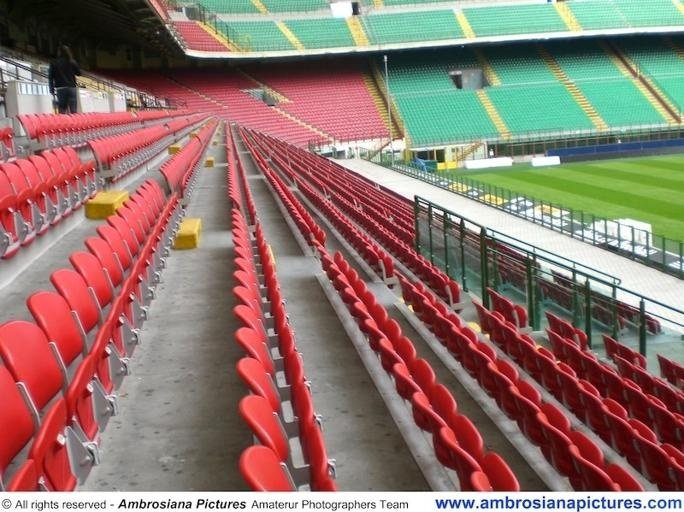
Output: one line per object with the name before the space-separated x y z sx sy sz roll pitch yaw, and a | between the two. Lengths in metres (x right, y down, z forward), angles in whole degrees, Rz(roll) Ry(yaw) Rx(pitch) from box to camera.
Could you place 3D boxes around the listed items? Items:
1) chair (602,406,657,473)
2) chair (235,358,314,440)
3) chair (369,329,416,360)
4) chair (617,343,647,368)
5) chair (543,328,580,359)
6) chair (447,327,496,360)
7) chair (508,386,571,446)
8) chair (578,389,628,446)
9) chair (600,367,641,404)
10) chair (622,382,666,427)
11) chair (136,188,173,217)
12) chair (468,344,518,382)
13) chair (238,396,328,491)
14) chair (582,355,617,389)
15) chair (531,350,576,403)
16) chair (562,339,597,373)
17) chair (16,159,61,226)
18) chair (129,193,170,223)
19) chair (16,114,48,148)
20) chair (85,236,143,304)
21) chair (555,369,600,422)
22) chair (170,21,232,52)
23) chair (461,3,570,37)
chair | 1.772 1.064 2.950 0.322 0.334 0.266 -7 13 -23
chair | -0.242 0.520 1.737 0.212 0.302 0.225 -22 30 0
chair | 0.283 0.522 2.645 0.160 0.184 0.168 -5 51 -19
chair | 2.707 0.907 4.580 0.249 0.257 0.209 -2 5 -26
chair | 1.987 0.807 4.328 0.276 0.274 0.219 -6 13 -17
chair | 0.894 0.611 3.332 0.163 0.199 0.149 -19 38 -19
chair | 1.044 0.829 2.592 0.280 0.293 0.220 -20 32 -16
chair | 1.638 1.016 3.115 0.287 0.332 0.256 -10 18 -11
chair | 2.097 0.979 3.670 0.259 0.258 0.191 -2 8 -18
chair | 2.152 1.064 3.504 0.277 0.283 0.221 -11 21 -14
chair | -1.713 -0.480 4.425 0.144 0.127 0.421 -21 16 1
chair | 0.994 0.705 3.172 0.191 0.212 0.202 -21 43 -21
chair | -0.185 0.591 1.515 0.222 0.312 0.232 -20 29 0
chair | 2.067 0.929 3.867 0.226 0.231 0.180 -8 14 -16
chair | 1.528 0.876 3.476 0.243 0.263 0.206 -14 29 -17
chair | 2.027 0.872 4.126 0.261 0.265 0.212 -8 17 -20
chair | -2.220 -0.445 3.538 0.202 0.512 0.330 -19 -13 -15
chair | -1.649 -0.399 4.142 0.128 0.146 0.412 -34 8 0
chair | -3.453 -1.361 5.385 0.175 0.160 0.507 -1 20 -16
chair | -1.217 0.054 2.768 0.313 0.390 0.281 1 28 -2
chair | 1.605 0.955 3.289 0.253 0.263 0.208 -14 26 -24
chair | -6.959 -10.896 24.115 2.103 1.800 2.033 -12 15 -23
chair | 9.526 -12.897 26.465 4.964 1.864 2.184 -6 13 -3
